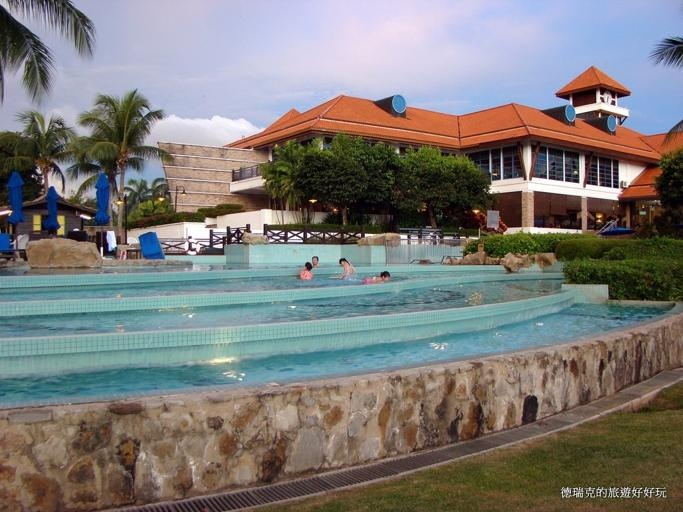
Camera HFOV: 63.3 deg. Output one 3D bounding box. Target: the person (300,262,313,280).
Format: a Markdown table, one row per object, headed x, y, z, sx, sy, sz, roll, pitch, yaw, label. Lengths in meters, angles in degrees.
| x | y | z | sx | sy | sz | roll | pitch | yaw | label |
| --- | --- | --- | --- | --- | --- | --- | --- | --- | --- |
| -1.069 | 0.441 | 16.334 | 0.342 | 0.532 | 0.816 | 0 | 6 | -5 | person |

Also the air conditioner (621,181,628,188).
| x | y | z | sx | sy | sz | roll | pitch | yaw | label |
| --- | --- | --- | --- | --- | --- | --- | --- | --- | --- |
| 23.204 | -5.869 | 45.329 | 0.357 | 0.740 | 0.488 | 2 | -7 | -4 | air conditioner |

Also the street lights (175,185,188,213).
| x | y | z | sx | sy | sz | roll | pitch | yaw | label |
| --- | --- | --- | --- | --- | --- | --- | --- | --- | --- |
| -11.864 | -4.213 | 40.449 | 0.922 | 1.840 | 0.759 | -2 | 7 | -19 | street lights |

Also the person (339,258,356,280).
| x | y | z | sx | sy | sz | roll | pitch | yaw | label |
| --- | --- | --- | --- | --- | --- | --- | --- | --- | --- |
| 0.181 | 0.384 | 16.873 | 0.435 | 0.619 | 1.125 | 1 | 6 | 0 | person |
